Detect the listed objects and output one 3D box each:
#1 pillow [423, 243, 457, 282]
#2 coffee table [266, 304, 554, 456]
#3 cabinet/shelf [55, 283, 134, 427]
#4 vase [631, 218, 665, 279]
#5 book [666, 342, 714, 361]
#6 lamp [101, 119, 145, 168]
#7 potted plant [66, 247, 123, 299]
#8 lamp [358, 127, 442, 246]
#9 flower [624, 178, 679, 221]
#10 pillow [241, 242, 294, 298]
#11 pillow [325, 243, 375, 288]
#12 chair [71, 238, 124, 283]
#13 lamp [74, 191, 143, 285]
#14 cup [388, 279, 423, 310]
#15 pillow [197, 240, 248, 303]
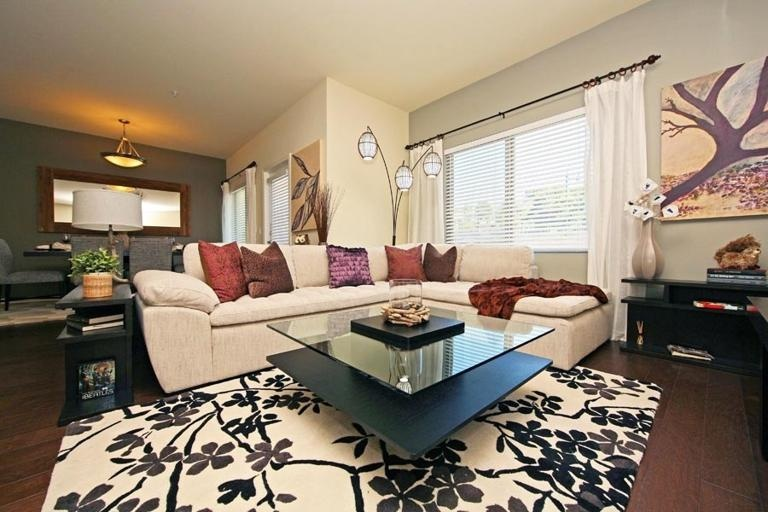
[{"bbox_3d":[0.738,0.100,5.812,0.472,0.436,0.247,0,-31,29],"label":"pillow"},{"bbox_3d":[0.391,0.620,3.550,1.427,0.339,1.466,-5,7,-43],"label":"coffee table"},{"bbox_3d":[-2.522,0.884,3.825,0.388,0.642,1.159,-2,3,-39],"label":"cabinet/shelf"},{"bbox_3d":[2.874,-0.083,4.774,0.187,0.642,0.249,-5,4,-37],"label":"vase"},{"bbox_3d":[3.125,0.978,4.468,0.383,0.109,0.184,0,3,31],"label":"book"},{"bbox_3d":[-4.349,-1.884,7.302,0.664,0.723,0.671,6,5,34],"label":"lamp"},{"bbox_3d":[-2.639,0.148,4.023,0.347,0.341,0.276,9,-2,-20],"label":"potted plant"},{"bbox_3d":[0.244,-1.097,6.710,1.252,1.816,1.164,-2,3,4],"label":"lamp"},{"bbox_3d":[2.971,-0.614,4.842,0.524,0.480,0.314,-1,3,24],"label":"flower"},{"bbox_3d":[-1.280,0.166,4.718,0.283,0.509,0.572,-8,-1,33],"label":"pillow"},{"bbox_3d":[-0.445,0.091,5.303,0.589,0.490,0.172,0,-19,-40],"label":"pillow"},{"bbox_3d":[-2.929,0.038,4.437,0.440,0.367,0.531,7,5,28],"label":"chair"},{"bbox_3d":[-2.724,-0.239,4.329,0.546,0.824,0.527,7,1,1],"label":"lamp"},{"bbox_3d":[0.173,0.316,3.714,0.260,0.188,0.265,1,1,0],"label":"cup"},{"bbox_3d":[-1.668,0.180,4.472,0.327,0.524,0.621,-1,1,24],"label":"pillow"}]
